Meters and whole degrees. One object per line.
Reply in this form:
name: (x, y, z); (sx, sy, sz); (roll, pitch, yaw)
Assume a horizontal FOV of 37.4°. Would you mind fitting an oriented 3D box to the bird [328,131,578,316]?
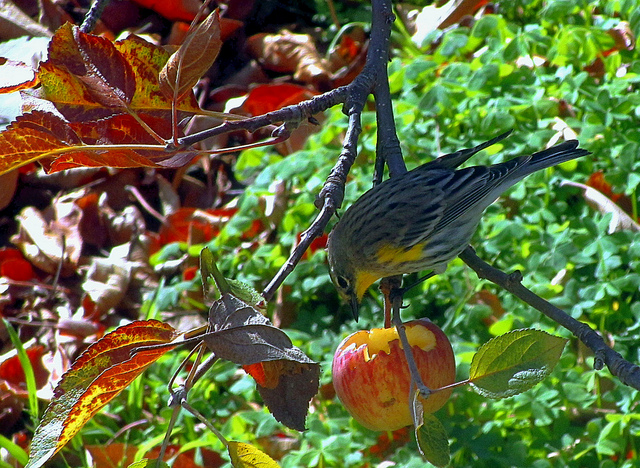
bird: (0.475, -0.080, 3.906); (0.973, 0.628, 0.534); (-19, -42, 13)
